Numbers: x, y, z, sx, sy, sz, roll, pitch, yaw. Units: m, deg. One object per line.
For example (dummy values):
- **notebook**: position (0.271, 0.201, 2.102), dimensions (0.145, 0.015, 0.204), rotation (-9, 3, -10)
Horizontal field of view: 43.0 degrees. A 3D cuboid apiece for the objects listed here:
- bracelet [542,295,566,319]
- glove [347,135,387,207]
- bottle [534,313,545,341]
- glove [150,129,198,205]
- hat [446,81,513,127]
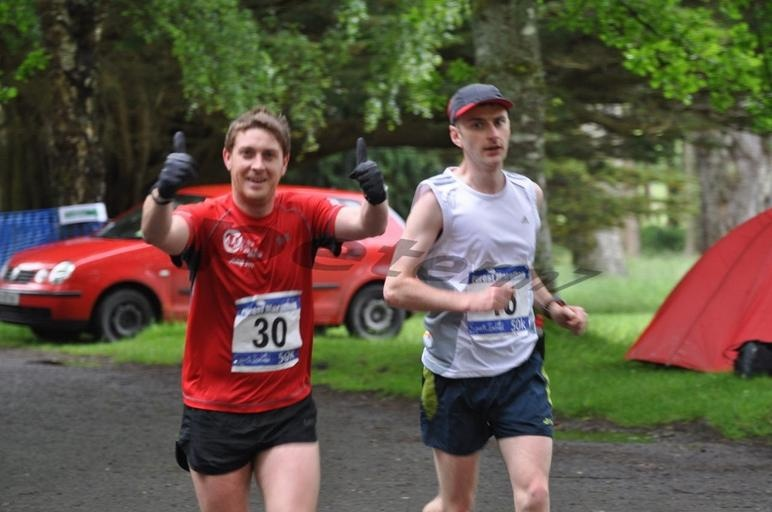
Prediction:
- **bracelet**: position (1.008, 0.310, 6.055), dimensions (0.102, 0.128, 0.129), rotation (5, 22, -27)
- **glove**: position (-0.102, -0.489, 5.684), dimensions (0.208, 0.381, 0.389), rotation (3, 6, -2)
- **bottle**: position (0.977, 0.439, 6.118), dimensions (0.060, 0.153, 0.115), rotation (-4, 11, -37)
- **glove**: position (-1.176, -0.490, 5.457), dimensions (0.235, 0.398, 0.305), rotation (2, 6, -12)
- **hat**: position (0.553, -0.949, 5.970), dimensions (0.371, 0.214, 0.431), rotation (-12, -4, -22)
